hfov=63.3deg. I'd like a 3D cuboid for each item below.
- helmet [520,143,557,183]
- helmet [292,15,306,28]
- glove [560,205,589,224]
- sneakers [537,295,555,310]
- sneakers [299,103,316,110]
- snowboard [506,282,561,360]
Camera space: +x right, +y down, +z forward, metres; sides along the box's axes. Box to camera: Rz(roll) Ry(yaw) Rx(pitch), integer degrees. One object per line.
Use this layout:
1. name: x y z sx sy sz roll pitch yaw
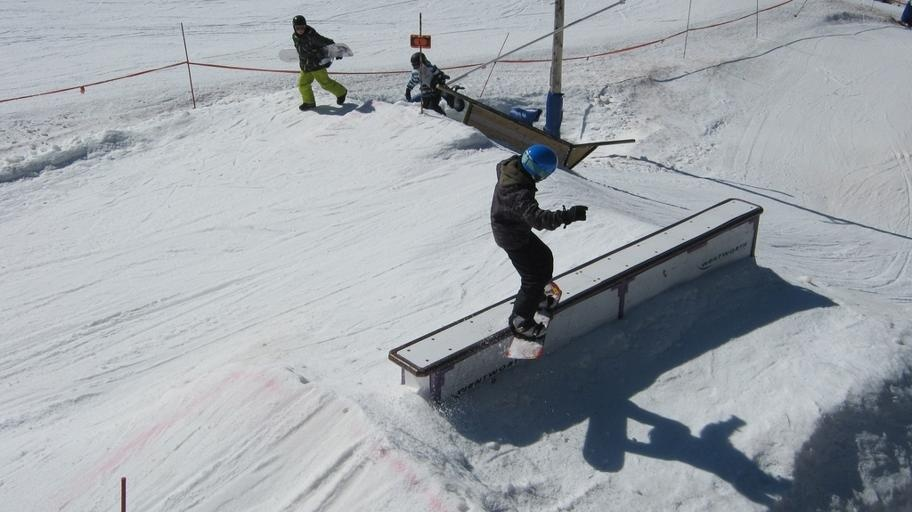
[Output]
1. helmet: 1.218 -1.364 10.555 0.438 0.445 0.534 33 21 -4
2. helmet: -3.331 -4.928 15.601 0.240 0.288 0.557 -14 31 -11
3. glove: 1.615 -0.568 10.220 0.343 0.324 0.317 2 32 14
4. sneakers: 1.335 0.699 10.932 0.228 0.181 0.183 11 7 -37
5. sneakers: -3.270 -3.244 16.225 0.363 0.131 0.158 2 1 5
6. snowboard: 1.103 1.068 11.096 0.611 0.161 1.739 1 24 15
